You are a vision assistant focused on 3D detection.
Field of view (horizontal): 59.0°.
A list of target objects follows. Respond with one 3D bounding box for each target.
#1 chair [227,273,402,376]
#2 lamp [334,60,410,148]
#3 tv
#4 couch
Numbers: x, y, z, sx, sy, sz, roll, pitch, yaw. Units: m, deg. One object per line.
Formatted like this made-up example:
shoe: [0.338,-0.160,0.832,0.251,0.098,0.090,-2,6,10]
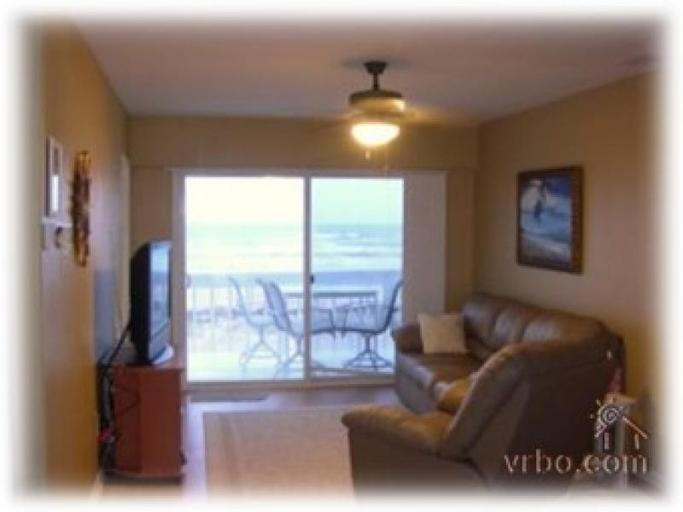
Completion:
chair: [-0.199,0.565,4.948,1.233,0.814,0.640,-2,-2,-3]
lamp: [0.200,-0.905,3.594,0.421,0.485,0.425,3,7,32]
tv: [-1.163,0.298,3.670,0.259,0.708,0.702,1,4,-5]
couch: [0.965,0.735,4.124,0.786,0.828,1.944,-2,-3,-8]
